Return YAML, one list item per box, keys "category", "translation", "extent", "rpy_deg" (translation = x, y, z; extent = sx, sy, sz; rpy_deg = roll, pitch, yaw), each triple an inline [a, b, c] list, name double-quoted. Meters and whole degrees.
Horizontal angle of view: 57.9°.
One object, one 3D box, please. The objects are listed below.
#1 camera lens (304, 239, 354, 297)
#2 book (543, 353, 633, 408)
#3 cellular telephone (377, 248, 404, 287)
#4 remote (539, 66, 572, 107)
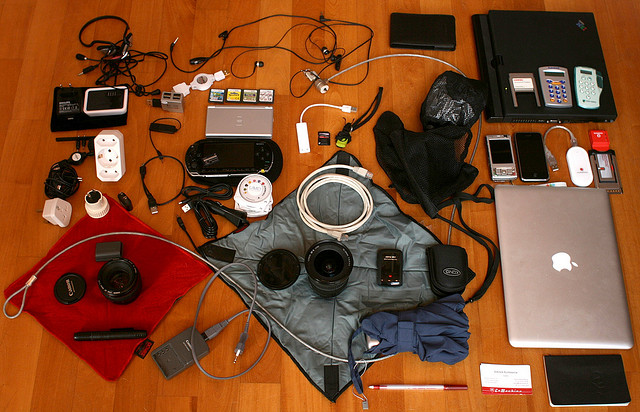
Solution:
- category: "camera lens"
  translation: [0.058, 0.308, 2.958]
  extent: [0.258, 0.239, 0.290]
  rpy_deg: [7, 66, 4]
- category: "book"
  translation: [1.337, 0.872, 2.911]
  extent: [0.416, 0.171, 0.186]
  rpy_deg: [3, 35, -2]
- category: "cellular telephone"
  translation: [0.358, 0.324, 2.977]
  extent: [0.125, 0.148, 0.127]
  rpy_deg: [4, 35, 0]
- category: "remote"
  translation: [1.312, -0.663, 3.221]
  extent: [0.163, 0.159, 0.165]
  rpy_deg: [0, 35, -6]
